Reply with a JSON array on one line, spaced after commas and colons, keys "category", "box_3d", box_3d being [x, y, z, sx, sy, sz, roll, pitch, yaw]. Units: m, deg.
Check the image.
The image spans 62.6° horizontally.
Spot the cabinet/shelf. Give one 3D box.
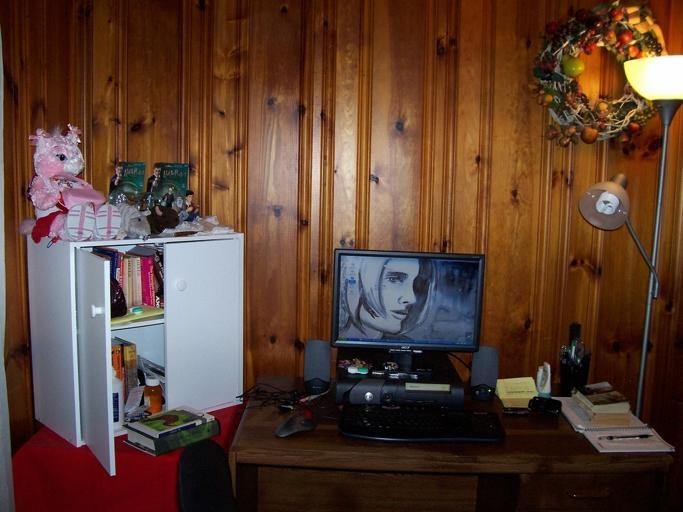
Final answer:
[{"category": "cabinet/shelf", "box_3d": [-0.798, 0.301, 2.657, 1.099, 1.115, 0.833, -5, 7, -43]}]

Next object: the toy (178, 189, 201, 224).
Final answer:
[{"category": "toy", "box_3d": [-0.706, -0.236, 2.608, 0.084, 0.145, 0.117, -1, 6, -15]}]

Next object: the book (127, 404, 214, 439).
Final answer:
[{"category": "book", "box_3d": [-0.701, 0.677, 2.285, 0.206, 0.052, 0.211, 4, 6, 37]}]

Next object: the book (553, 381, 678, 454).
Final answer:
[{"category": "book", "box_3d": [1.073, 0.671, 2.275, 0.248, 0.084, 0.339, -1, 16, -4]}]

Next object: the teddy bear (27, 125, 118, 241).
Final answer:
[{"category": "teddy bear", "box_3d": [-1.081, -0.295, 2.250, 0.346, 0.464, 0.197, 2, 6, 22]}]

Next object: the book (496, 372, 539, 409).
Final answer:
[{"category": "book", "box_3d": [0.753, 0.588, 2.439, 0.118, 0.030, 0.123, -1, 26, 11]}]

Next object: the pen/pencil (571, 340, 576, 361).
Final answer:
[{"category": "pen/pencil", "box_3d": [1.037, 0.422, 2.530, 0.023, 0.085, 0.022, 2, 5, 19]}]

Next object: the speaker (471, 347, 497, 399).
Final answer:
[{"category": "speaker", "box_3d": [0.632, 0.515, 2.479, 0.111, 0.224, 0.070, 3, 3, 4]}]

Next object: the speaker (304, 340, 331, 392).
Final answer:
[{"category": "speaker", "box_3d": [-0.111, 0.490, 2.500, 0.111, 0.230, 0.082, 0, 5, -5]}]

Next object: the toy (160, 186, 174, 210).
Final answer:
[{"category": "toy", "box_3d": [-0.798, -0.268, 2.575, 0.059, 0.089, 0.028, -2, -10, 11]}]

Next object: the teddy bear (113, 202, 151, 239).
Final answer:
[{"category": "teddy bear", "box_3d": [-0.877, -0.150, 2.373, 0.106, 0.146, 0.152, -3, 6, -32]}]
